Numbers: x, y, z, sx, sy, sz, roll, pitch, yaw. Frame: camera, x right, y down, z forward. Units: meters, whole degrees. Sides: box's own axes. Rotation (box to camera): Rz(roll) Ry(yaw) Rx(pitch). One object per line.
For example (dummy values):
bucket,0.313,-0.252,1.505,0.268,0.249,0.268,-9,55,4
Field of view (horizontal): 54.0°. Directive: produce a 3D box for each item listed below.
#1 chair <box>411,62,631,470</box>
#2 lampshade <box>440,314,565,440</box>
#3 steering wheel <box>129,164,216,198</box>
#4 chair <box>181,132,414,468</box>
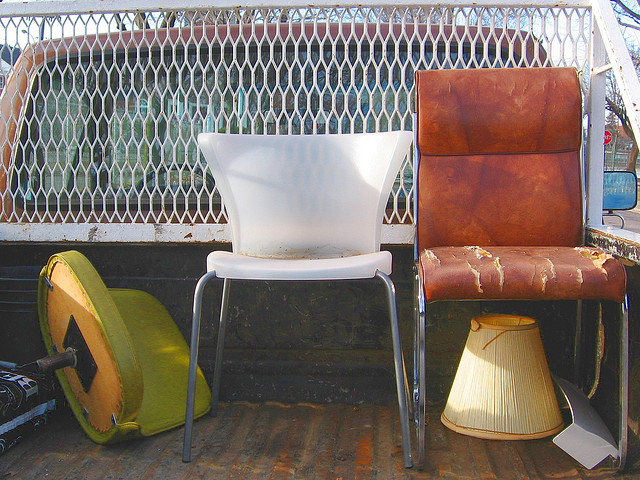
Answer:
chair,0.913,0.076,2.973,0.974,1.779,0.865,-2,13,9
lampshade,0.900,0.638,3.140,0.511,0.547,0.489,0,3,-39
steering wheel,-0.839,-0.340,3.530,0.483,0.164,0.032,-5,12,4
chair,-0.055,0.259,3.005,0.949,1.622,0.808,-2,4,-7
